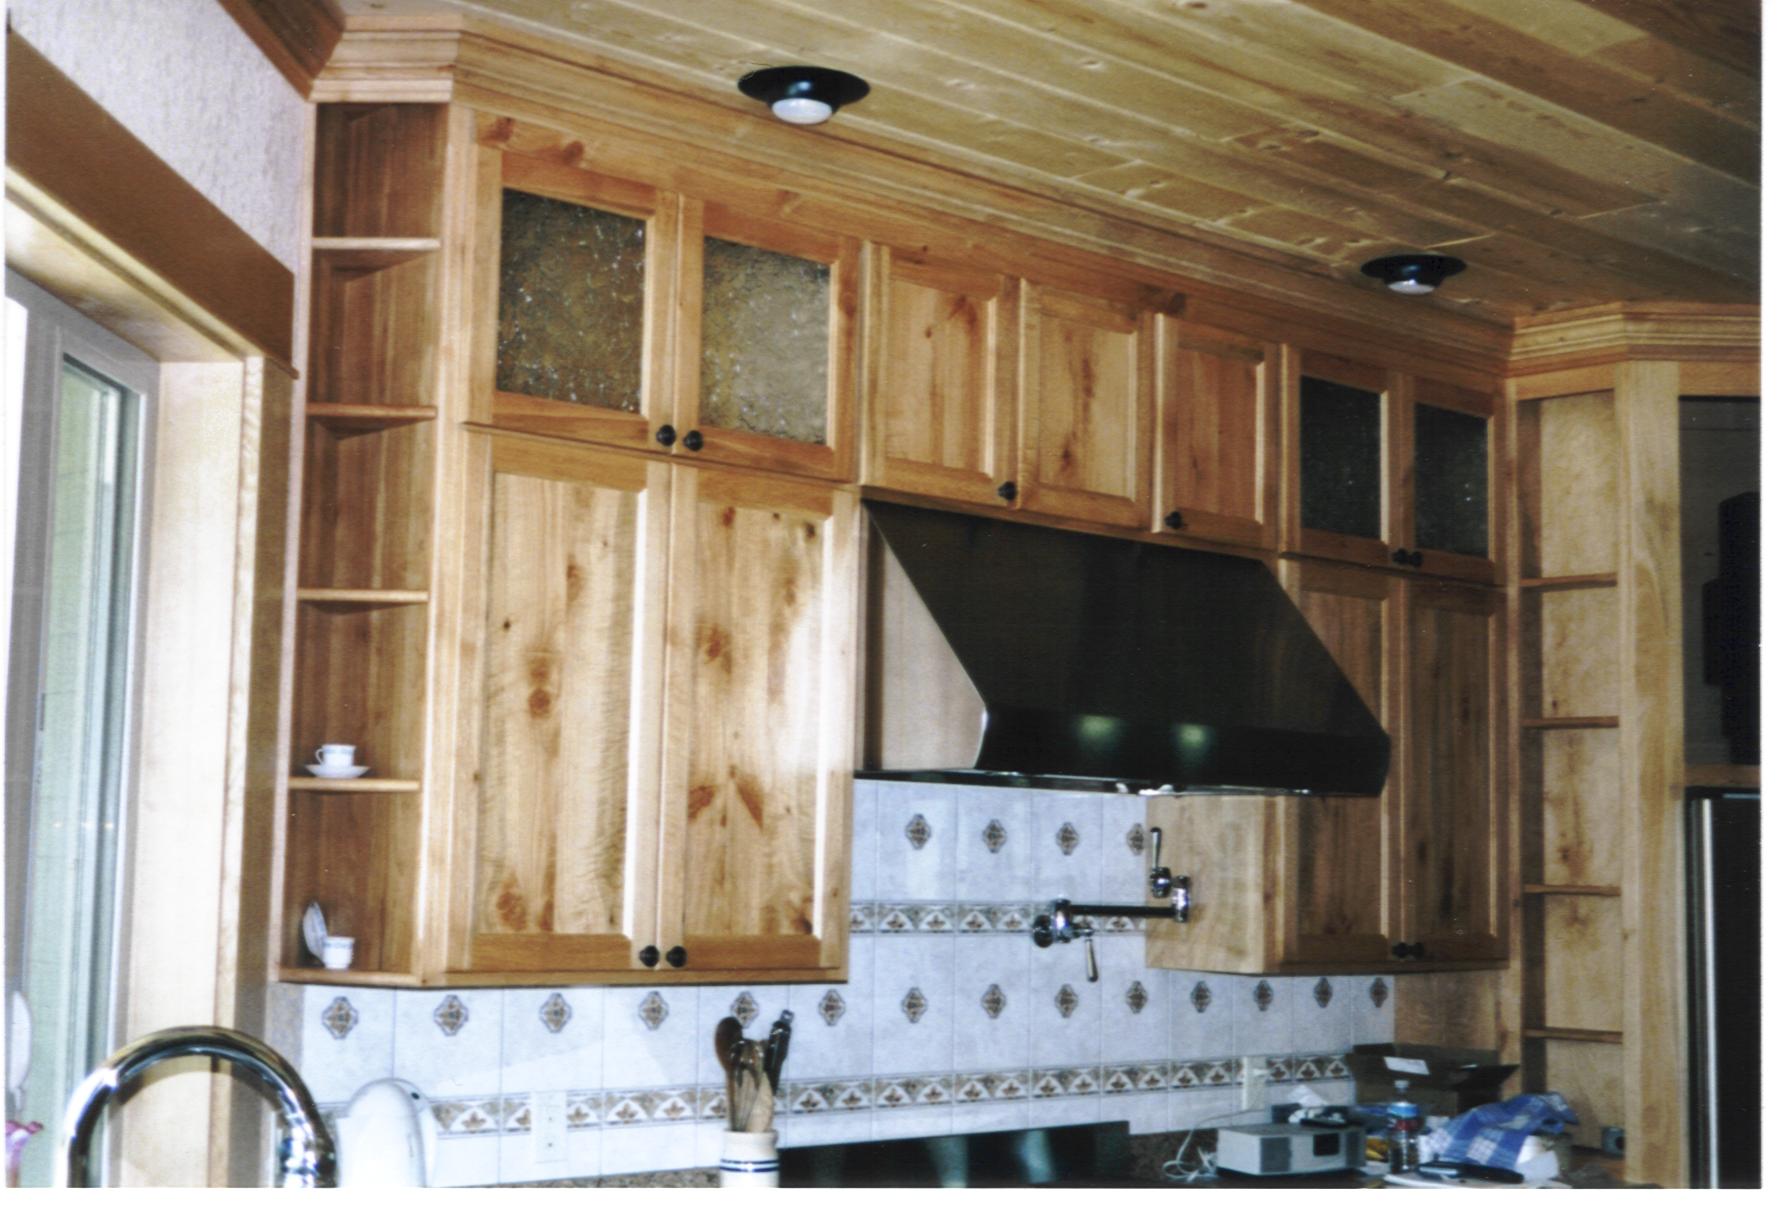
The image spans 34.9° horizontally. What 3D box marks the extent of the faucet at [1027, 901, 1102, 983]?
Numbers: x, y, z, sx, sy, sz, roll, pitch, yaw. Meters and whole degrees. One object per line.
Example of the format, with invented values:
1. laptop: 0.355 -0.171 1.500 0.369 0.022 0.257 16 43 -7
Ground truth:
1. faucet: 0.477 0.873 7.456 0.111 0.206 0.222 -12 -14 44

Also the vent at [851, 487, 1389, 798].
1. vent: 0.600 0.107 7.075 1.416 0.535 0.559 5 5 -43

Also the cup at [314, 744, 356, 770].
1. cup: -1.259 0.335 6.434 0.078 0.039 0.052 -2 -2 15

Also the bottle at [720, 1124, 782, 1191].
1. bottle: -0.337 1.289 6.695 0.161 0.116 0.150 2 -3 0

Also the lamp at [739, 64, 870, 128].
1. lamp: -0.205 -1.191 6.548 0.199 0.045 0.173 3 -5 -20

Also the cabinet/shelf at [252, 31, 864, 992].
1. cabinet/shelf: -0.697 -0.211 6.562 1.344 2.128 0.639 0 -11 -9

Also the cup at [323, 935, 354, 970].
1. cup: -1.245 0.775 6.400 0.086 0.058 0.071 2 -12 -6

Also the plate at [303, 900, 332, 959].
1. plate: -1.304 0.723 6.434 0.059 0.134 0.068 1 -11 -10
